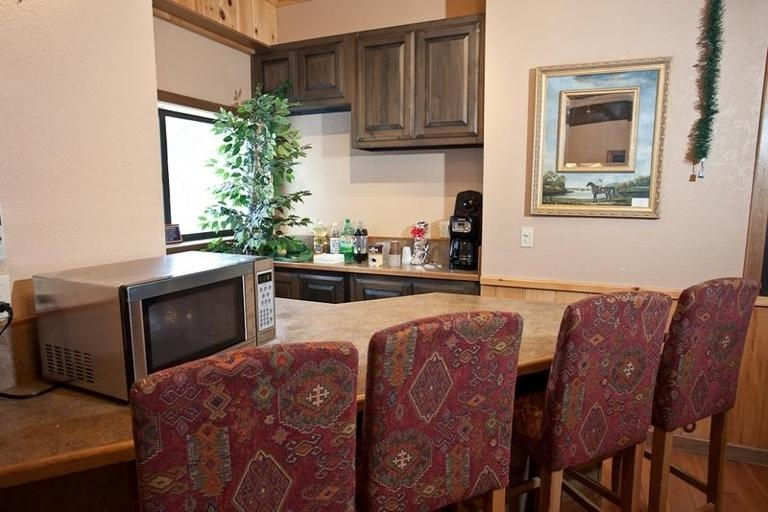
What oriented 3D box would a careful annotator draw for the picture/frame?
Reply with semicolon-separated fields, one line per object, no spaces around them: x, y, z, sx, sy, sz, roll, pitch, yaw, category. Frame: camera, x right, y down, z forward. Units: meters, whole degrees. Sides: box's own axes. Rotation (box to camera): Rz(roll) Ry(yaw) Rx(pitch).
1.396;-0.765;3.364;1.083;1.265;0.057;2;6;14;picture/frame

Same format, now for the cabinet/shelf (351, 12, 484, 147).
0.164;-1.290;4.036;1.041;0.845;0.369;-13;26;-23;cabinet/shelf

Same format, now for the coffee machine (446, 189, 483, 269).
0.601;-0.191;3.947;0.224;0.562;0.217;3;10;9;coffee machine

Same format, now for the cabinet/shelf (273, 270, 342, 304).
-0.557;0.240;4.173;0.482;0.291;0.270;1;1;13;cabinet/shelf

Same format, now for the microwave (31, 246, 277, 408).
-0.938;0.107;2.100;0.544;0.402;0.812;4;9;28;microwave

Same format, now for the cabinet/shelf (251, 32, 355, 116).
-0.630;-1.433;4.216;0.846;0.463;0.267;4;7;25;cabinet/shelf
